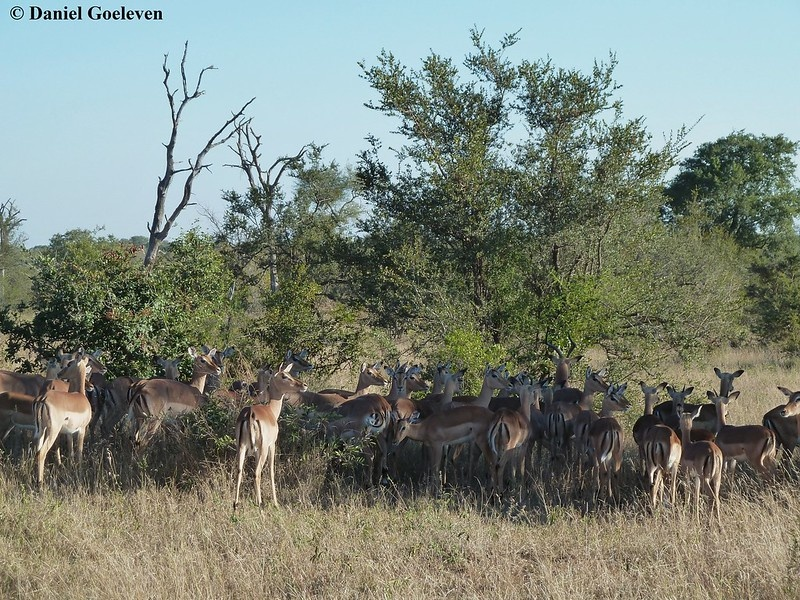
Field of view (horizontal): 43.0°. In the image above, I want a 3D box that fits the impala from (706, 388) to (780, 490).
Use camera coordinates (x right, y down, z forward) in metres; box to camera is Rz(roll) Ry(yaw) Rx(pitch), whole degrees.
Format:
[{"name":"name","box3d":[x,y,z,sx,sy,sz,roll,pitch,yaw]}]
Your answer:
[{"name":"impala","box3d":[5.573,2.322,16.675,0.478,1.580,1.610,4,0,-23]}]
